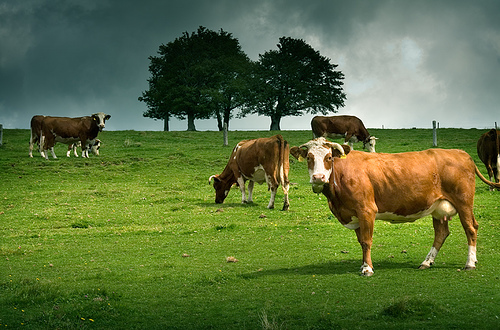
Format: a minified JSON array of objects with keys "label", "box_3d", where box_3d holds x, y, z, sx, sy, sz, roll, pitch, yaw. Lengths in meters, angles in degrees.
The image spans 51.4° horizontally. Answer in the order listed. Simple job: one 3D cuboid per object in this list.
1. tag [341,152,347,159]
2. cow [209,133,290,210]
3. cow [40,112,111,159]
[{"label":"tag","box_3d":[2.791,-0.299,15.459,0.187,0.191,0.049,3,6,25]},{"label":"cow","box_3d":[0.199,0.319,25.859,1.576,3.738,4.480,-8,11,-38]},{"label":"cow","box_3d":[-12.785,-1.967,37.808,3.774,2.456,1.446,0,-5,-30]}]
